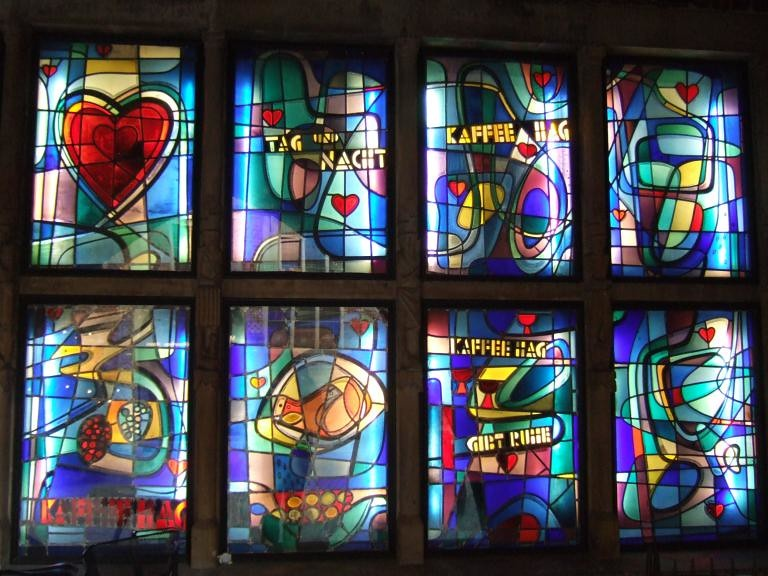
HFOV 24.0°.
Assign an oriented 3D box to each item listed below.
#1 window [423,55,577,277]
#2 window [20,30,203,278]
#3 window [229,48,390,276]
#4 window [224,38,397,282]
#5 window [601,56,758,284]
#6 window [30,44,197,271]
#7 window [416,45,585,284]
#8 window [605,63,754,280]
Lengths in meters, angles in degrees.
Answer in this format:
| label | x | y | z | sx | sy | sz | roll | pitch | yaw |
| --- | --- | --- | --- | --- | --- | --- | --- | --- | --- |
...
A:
| label | x | y | z | sx | sy | sz | roll | pitch | yaw |
| --- | --- | --- | --- | --- | --- | --- | --- | --- | --- |
| window | 1.364 | -1.337 | 22.217 | 2.627 | 3.519 | 0.079 | 2 | -7 | -8 |
| window | -3.398 | -1.463 | 21.968 | 2.931 | 3.925 | 0.069 | 1 | -10 | -5 |
| window | -0.982 | -1.371 | 22.076 | 2.657 | 3.575 | 0.143 | 2 | -5 | -4 |
| window | -0.968 | -1.390 | 22.071 | 2.847 | 3.855 | 0.147 | 1 | -4 | -4 |
| window | 3.601 | -1.308 | 22.375 | 2.736 | 3.870 | 0.056 | 1 | -5 | -9 |
| window | -3.372 | -1.417 | 21.977 | 2.693 | 3.776 | 0.067 | 1 | -9 | -4 |
| window | 1.374 | -1.359 | 22.207 | 2.835 | 3.923 | 0.149 | 1 | -5 | -8 |
| window | 3.603 | -1.289 | 22.382 | 2.577 | 3.658 | 0.065 | 2 | -6 | -9 |
